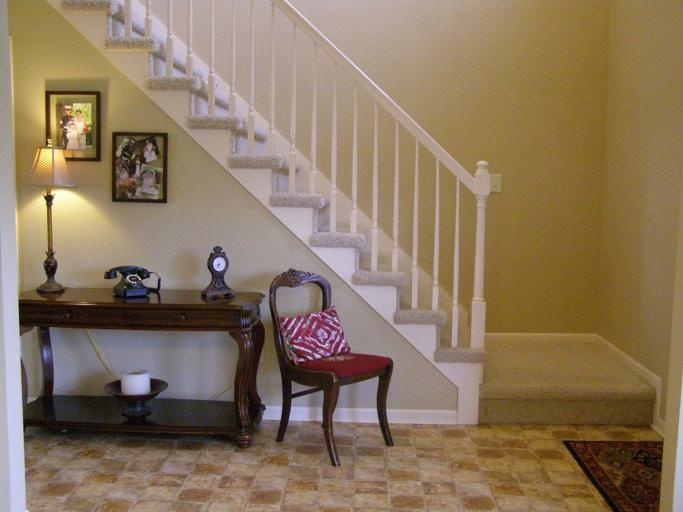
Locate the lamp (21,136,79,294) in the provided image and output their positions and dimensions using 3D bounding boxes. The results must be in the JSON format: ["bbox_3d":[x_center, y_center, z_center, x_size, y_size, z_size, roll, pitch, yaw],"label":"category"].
[{"bbox_3d":[-1.948,-0.274,4.478,0.288,1.028,0.361,-4,7,-25],"label":"lamp"}]

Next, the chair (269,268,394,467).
[{"bbox_3d":[-0.069,0.677,4.287,0.613,1.166,0.669,-6,8,-42],"label":"chair"}]

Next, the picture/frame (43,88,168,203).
[{"bbox_3d":[-1.607,-0.799,4.536,0.689,0.700,0.033,3,2,-2],"label":"picture/frame"}]
